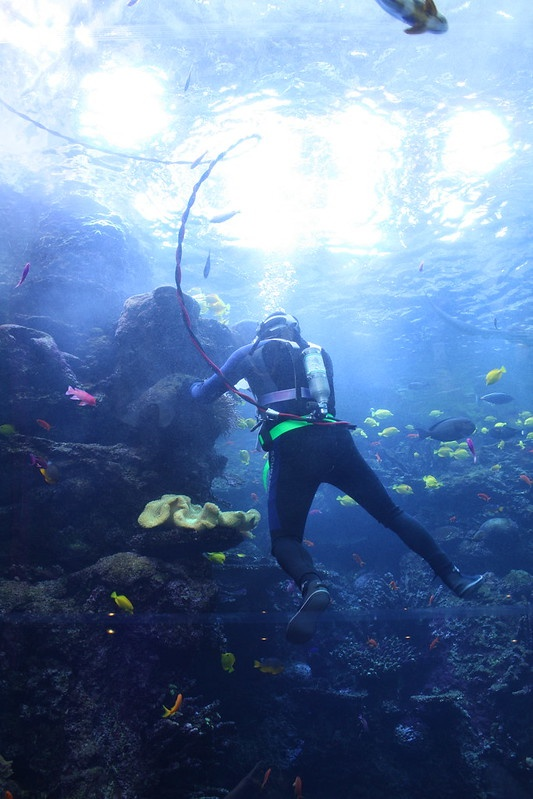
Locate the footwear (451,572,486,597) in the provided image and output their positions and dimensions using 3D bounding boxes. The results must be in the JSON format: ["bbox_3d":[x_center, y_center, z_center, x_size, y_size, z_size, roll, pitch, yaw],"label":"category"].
[{"bbox_3d":[2.773,2.543,9.174,0.395,0.340,0.283,-2,-10,-27],"label":"footwear"}]
